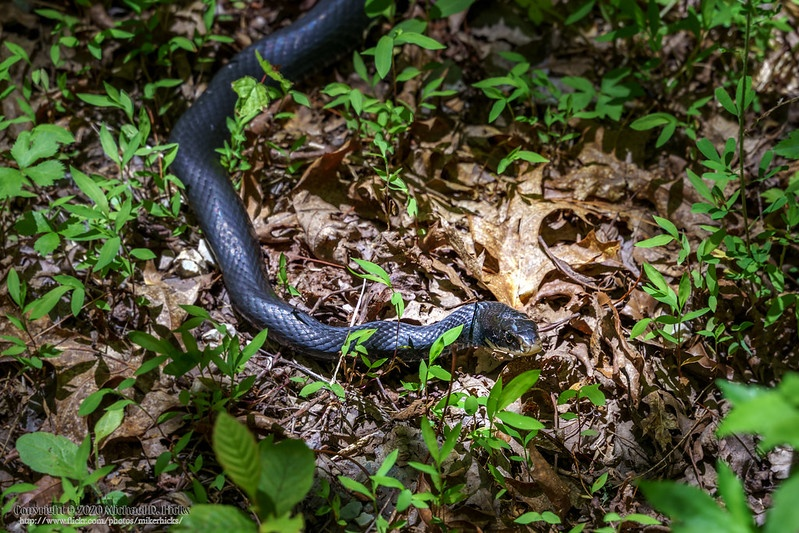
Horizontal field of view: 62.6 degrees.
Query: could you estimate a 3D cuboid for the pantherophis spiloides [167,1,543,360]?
[{"bbox_3d":[-0.810,-0.707,6.379,2.225,0.945,4.129,-22,65,-20],"label":"pantherophis spiloides"}]
